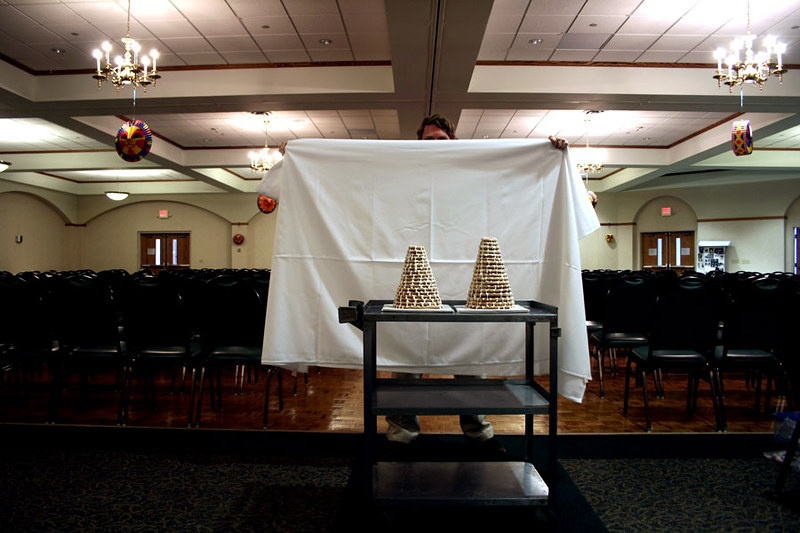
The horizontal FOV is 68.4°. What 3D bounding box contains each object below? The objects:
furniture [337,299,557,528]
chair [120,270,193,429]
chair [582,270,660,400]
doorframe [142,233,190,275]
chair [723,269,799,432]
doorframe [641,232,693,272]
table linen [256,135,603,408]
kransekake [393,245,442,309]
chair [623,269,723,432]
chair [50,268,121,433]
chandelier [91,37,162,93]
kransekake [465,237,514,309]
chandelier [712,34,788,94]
[{"bbox_3d":[0.389,1.174,4.728,1.927,1.661,0.823,0,-5,2],"label":"furniture"},{"bbox_3d":[-2.458,0.836,5.998,0.725,1.458,0.401,0,-4,-14],"label":"chair"},{"bbox_3d":[2.607,0.754,6.738,0.655,1.080,0.731,-1,3,18],"label":"chair"},{"bbox_3d":[-6.589,-0.364,16.598,1.366,1.105,0.167,0,2,0],"label":"doorframe"},{"bbox_3d":[3.559,0.810,5.905,0.689,1.420,1.342,-3,-4,27],"label":"chair"},{"bbox_3d":[7.516,-0.423,16.472,1.259,1.054,0.093,1,-1,26],"label":"doorframe"},{"bbox_3d":[0.221,0.073,4.878,3.429,2.411,0.475,0,-9,-1],"label":"table linen"},{"bbox_3d":[0.093,0.075,4.744,0.448,0.480,0.473,5,5,15],"label":"kransekake"},{"bbox_3d":[2.872,0.893,6.137,0.788,1.237,0.816,12,-17,6],"label":"chair"},{"bbox_3d":[-3.291,0.830,6.242,0.919,1.461,0.687,-1,-4,-1],"label":"chair"},{"bbox_3d":[-3.829,-2.862,8.239,0.933,0.607,0.907,2,2,23],"label":"chandelier"},{"bbox_3d":[0.657,0.050,4.742,0.476,0.558,0.457,4,4,-16],"label":"kransekake"},{"bbox_3d":[4.819,-2.841,8.157,0.842,0.829,0.794,-1,12,7],"label":"chandelier"}]
